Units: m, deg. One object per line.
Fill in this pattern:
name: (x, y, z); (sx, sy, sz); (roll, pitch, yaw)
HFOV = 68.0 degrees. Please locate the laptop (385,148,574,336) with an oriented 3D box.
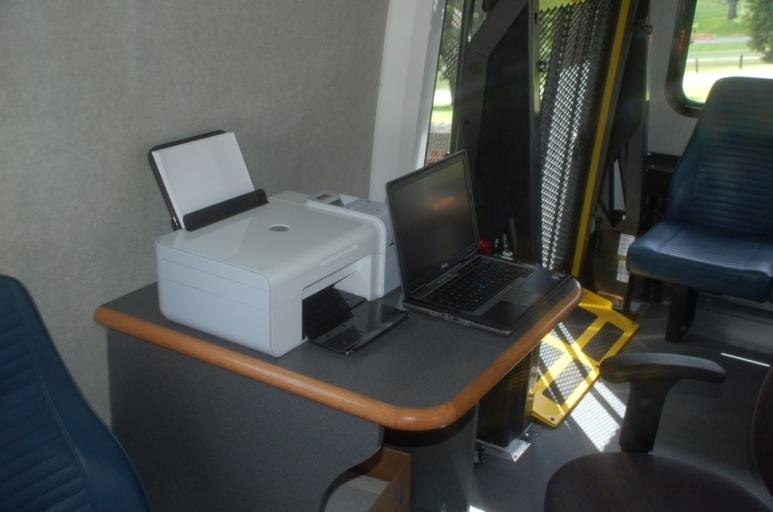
laptop: (0.328, -0.070, 1.971); (0.583, 0.428, 0.502); (-21, 28, -39)

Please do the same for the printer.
printer: (-0.384, -0.046, 1.892); (0.753, 0.521, 0.735); (17, 29, 25)
